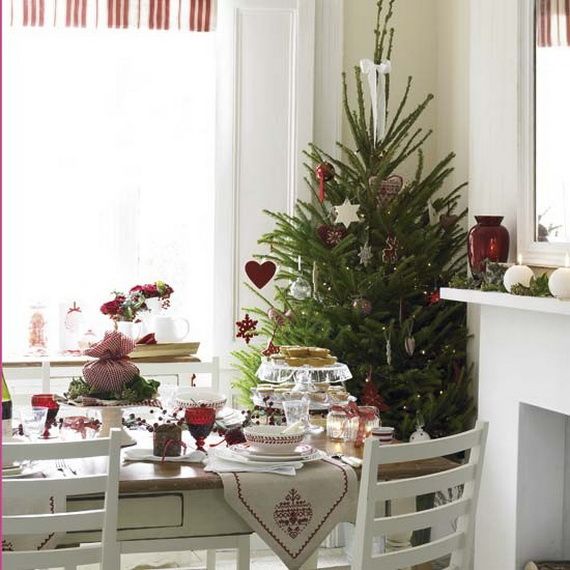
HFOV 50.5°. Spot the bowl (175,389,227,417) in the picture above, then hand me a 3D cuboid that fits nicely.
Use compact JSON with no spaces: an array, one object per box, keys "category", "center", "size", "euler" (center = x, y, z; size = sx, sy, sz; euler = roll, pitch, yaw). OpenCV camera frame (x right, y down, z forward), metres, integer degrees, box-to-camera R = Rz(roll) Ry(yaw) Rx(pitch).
[{"category":"bowl","center":[-0.267,0.372,1.927],"size":[0.144,0.057,0.145],"euler":[2,3,0]}]

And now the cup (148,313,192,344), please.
[{"category":"cup","center":[-0.607,0.228,3.222],"size":[0.207,0.141,0.129],"euler":[3,-6,-32]}]

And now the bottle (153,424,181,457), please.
[{"category":"bottle","center":[-0.313,0.413,1.623],"size":[0.077,0.073,0.075],"euler":[-6,-7,35]}]

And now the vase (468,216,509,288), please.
[{"category":"vase","center":[0.833,-0.159,2.443],"size":[0.166,0.252,0.223],"euler":[-3,4,8]}]

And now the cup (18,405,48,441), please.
[{"category":"cup","center":[-0.694,0.377,1.690],"size":[0.086,0.094,0.089],"euler":[-1,-2,0]}]
